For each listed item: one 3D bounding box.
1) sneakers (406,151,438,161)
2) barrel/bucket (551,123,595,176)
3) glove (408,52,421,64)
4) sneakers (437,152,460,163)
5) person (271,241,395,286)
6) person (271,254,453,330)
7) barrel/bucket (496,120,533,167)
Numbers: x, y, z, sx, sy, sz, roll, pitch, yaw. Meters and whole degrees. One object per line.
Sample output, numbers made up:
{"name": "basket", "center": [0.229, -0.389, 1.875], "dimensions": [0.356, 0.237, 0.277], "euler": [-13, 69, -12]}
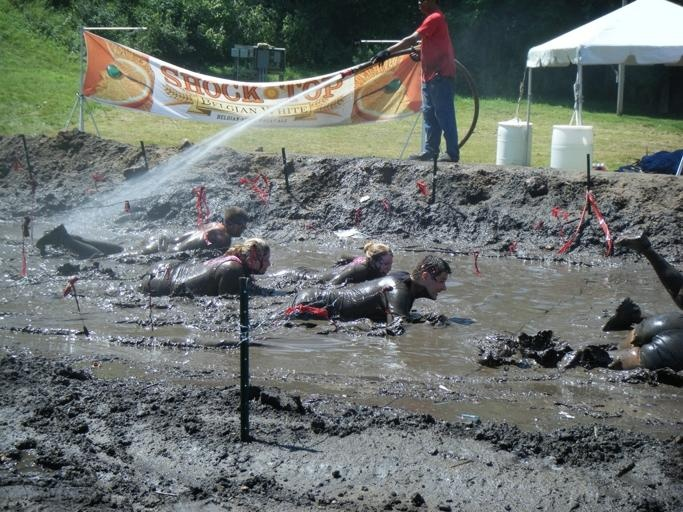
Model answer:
{"name": "sneakers", "center": [1.733, -2.137, 21.660], "dimensions": [0.606, 0.263, 0.212], "euler": [8, 10, 28]}
{"name": "barrel/bucket", "center": [4.747, -2.226, 21.038], "dimensions": [1.013, 1.682, 1.039], "euler": [-1, 8, 0]}
{"name": "glove", "center": [1.562, -4.294, 21.699], "dimensions": [0.133, 0.197, 0.191], "euler": [5, 10, 25]}
{"name": "sneakers", "center": [2.260, -2.081, 21.572], "dimensions": [0.355, 0.139, 0.216], "euler": [15, -10, -32]}
{"name": "person", "center": [0.063, 0.155, 17.290], "dimensions": [1.566, 0.748, 0.882], "euler": [6, 15, 20]}
{"name": "person", "center": [0.478, 0.524, 16.089], "dimensions": [2.456, 1.081, 0.643], "euler": [3, 8, 5]}
{"name": "barrel/bucket", "center": [3.762, -2.494, 22.162], "dimensions": [0.733, 0.957, 0.629], "euler": [4, 8, 15]}
